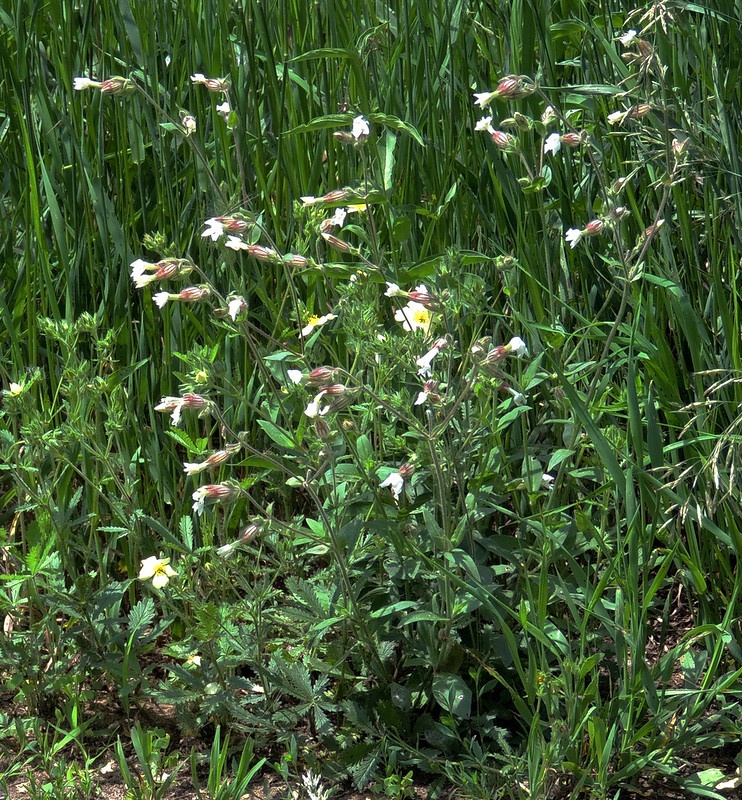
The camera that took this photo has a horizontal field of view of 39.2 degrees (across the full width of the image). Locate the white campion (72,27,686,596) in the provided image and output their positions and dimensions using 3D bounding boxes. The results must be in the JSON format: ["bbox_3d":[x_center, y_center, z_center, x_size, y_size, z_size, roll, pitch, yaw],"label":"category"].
[{"bbox_3d":[-0.001,-0.330,2.020,1.136,0.670,0.791,11,48,17],"label":"white campion"}]
